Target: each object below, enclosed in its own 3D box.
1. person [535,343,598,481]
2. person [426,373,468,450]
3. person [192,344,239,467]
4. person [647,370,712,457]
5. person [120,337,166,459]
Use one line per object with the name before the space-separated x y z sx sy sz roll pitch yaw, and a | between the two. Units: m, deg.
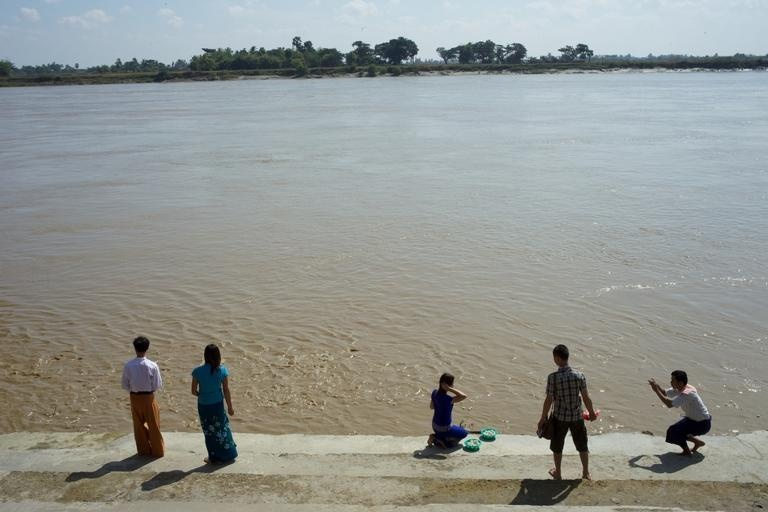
person | 3.212 2.738 11.707 0.916 2.398 0.705 0 19 11
person | 1.195 2.954 12.653 0.752 1.456 0.421 -2 18 4
person | -3.097 2.712 12.033 0.636 2.254 0.583 -8 19 -12
person | 5.586 2.872 12.336 0.896 1.644 0.745 5 20 26
person | -4.436 2.620 12.258 0.673 2.259 0.681 -18 23 -36
